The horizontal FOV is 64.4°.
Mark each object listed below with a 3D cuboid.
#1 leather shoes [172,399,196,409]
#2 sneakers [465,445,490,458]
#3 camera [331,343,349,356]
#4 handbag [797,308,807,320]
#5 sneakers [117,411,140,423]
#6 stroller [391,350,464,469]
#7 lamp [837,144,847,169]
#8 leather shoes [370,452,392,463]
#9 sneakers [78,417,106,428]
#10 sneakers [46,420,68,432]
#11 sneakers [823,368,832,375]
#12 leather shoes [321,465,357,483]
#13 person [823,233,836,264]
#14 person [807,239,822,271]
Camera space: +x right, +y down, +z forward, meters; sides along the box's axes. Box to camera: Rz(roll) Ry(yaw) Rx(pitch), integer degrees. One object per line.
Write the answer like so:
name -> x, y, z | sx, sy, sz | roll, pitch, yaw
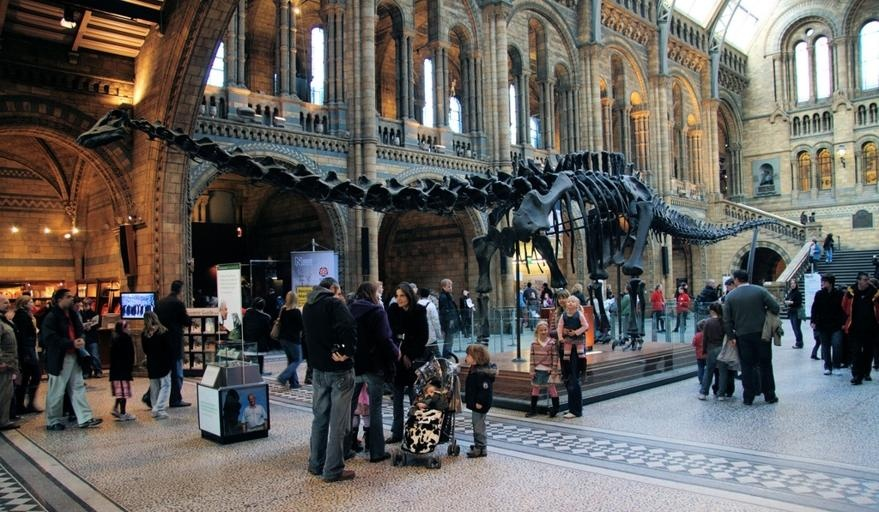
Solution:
leather shoes -> -5.931, 3.398, 16.046 | 0.464, 0.163, 0.158 | 0, -4, -9
sneakers -> 0.708, 3.687, 13.154 | 0.415, 0.264, 0.164 | 4, -4, 6
camera -> -1.804, 1.685, 12.581 | 0.282, 0.089, 0.191 | 8, 18, 19
handbag -> 12.447, 1.987, 23.940 | 0.197, 0.364, 1.088 | 0, -5, 43
sneakers -> -6.835, 3.517, 15.202 | 0.402, 0.155, 0.169 | 0, -3, -15
stroller -> -0.223, 2.900, 13.077 | 1.269, 1.862, 0.984 | -3, 13, -6
lamp -> 23.080, -5.718, 39.854 | 0.442, 1.294, 0.484 | 3, 14, 20
leather shoes -> -1.127, 3.804, 13.233 | 0.155, 0.173, 0.452 | 6, 7, 42
sneakers -> -7.417, 3.534, 14.875 | 0.555, 0.211, 0.191 | -5, 11, -20
sneakers -> -8.116, 3.597, 14.758 | 0.449, 0.167, 0.181 | -3, 7, -13
sneakers -> 9.725, 2.895, 17.442 | 0.117, 0.127, 0.343 | -5, -13, 32
leather shoes -> -1.820, 3.954, 12.551 | 0.582, 0.224, 0.232 | -6, 7, -31
person -> 19.586, -0.402, 35.051 | 0.496, 1.406, 1.807 | 6, 14, 28
person -> 18.381, -0.016, 34.096 | 0.502, 1.470, 1.704 | 5, 14, 28
